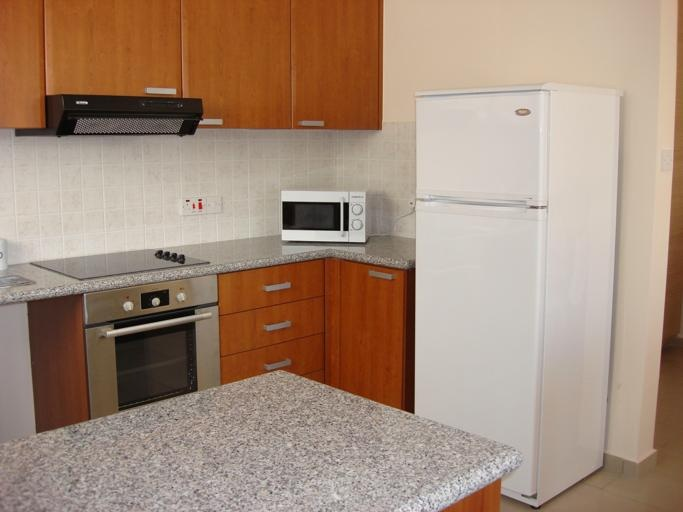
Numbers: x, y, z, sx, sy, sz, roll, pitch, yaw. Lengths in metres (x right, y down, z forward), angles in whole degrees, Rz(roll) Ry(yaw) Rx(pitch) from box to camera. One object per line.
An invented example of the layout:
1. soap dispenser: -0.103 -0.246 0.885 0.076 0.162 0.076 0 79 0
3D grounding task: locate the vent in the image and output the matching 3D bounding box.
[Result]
1. vent: -1.105 -0.688 2.927 0.798 0.182 0.342 -9 16 -35

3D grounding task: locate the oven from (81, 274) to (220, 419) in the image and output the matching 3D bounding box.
1. oven: -0.963 0.387 2.940 0.602 0.614 0.419 -8 17 -35

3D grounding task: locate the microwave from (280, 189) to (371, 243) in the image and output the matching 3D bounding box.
1. microwave: -0.091 -0.237 3.537 0.478 0.316 0.314 1 3 14

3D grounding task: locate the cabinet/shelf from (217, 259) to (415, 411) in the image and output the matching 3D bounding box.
1. cabinet/shelf: -0.144 0.360 3.243 0.861 0.882 0.862 -6 9 -43
